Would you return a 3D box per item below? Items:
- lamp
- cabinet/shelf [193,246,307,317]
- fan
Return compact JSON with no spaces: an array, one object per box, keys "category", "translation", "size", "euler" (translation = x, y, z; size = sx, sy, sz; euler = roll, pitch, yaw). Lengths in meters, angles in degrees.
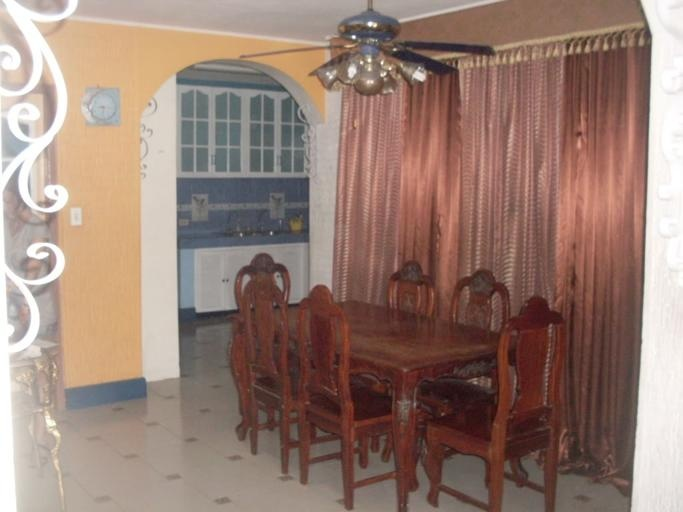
[{"category":"lamp","translation":[0.154,-1.034,3.374],"size":[0.501,0.269,0.424],"euler":[-4,8,-26]},{"category":"cabinet/shelf","translation":[-1.066,0.248,6.335],"size":[0.870,0.520,0.129],"euler":[-3,14,-20]},{"category":"fan","translation":[0.222,-1.566,4.299],"size":[0.916,0.454,0.889],"euler":[4,9,20]}]
